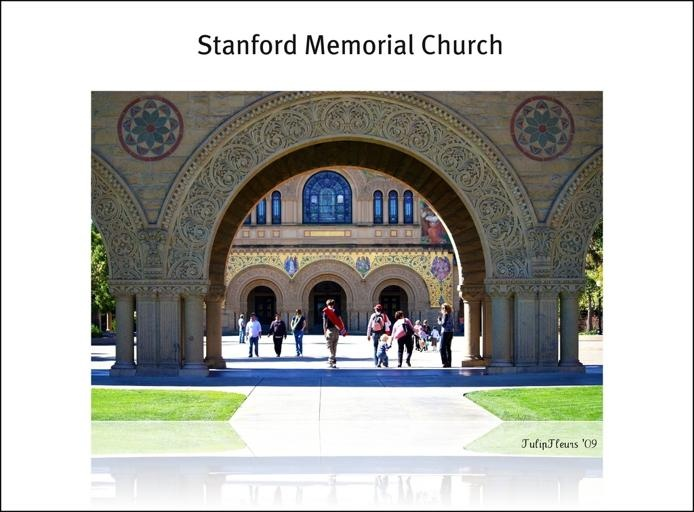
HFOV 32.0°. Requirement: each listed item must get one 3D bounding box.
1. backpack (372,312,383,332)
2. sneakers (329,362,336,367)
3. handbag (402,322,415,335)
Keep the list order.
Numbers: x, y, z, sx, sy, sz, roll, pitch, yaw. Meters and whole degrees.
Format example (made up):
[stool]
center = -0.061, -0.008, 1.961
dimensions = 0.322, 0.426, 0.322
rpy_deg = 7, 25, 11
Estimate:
[backpack]
center = 0.678, 1.485, 26.871
dimensions = 0.379, 0.502, 0.266
rpy_deg = 2, -14, -2
[sneakers]
center = -0.329, 2.354, 26.213
dimensions = 0.119, 0.058, 0.156
rpy_deg = 1, -17, -2
[handbag]
center = 1.365, 1.622, 26.791
dimensions = 0.189, 0.293, 0.280
rpy_deg = -5, 18, -7
